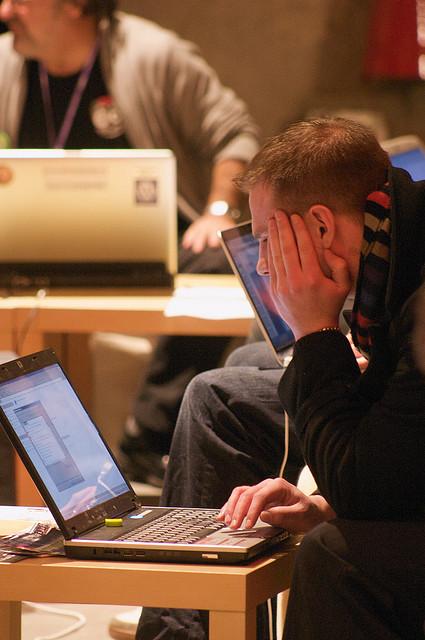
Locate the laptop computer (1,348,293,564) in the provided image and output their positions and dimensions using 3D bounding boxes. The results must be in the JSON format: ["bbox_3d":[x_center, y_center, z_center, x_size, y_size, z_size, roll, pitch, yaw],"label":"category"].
[{"bbox_3d":[-0.124,0.125,0.783,0.373,0.197,0.358,0,-1,-7],"label":"laptop computer"}]
